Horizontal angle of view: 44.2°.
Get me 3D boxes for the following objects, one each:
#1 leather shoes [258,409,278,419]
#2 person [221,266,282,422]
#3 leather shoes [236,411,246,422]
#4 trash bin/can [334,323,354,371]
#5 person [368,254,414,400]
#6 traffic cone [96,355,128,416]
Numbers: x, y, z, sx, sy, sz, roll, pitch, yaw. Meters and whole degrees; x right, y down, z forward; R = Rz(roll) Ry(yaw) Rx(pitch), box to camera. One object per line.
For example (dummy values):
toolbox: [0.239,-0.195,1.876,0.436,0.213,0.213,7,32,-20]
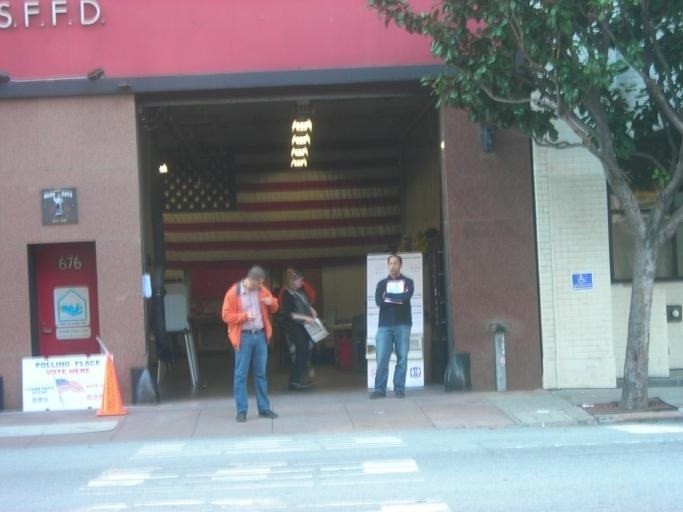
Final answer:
leather shoes: [-1.123,2.423,12.945,0.278,0.120,0.125,-2,-3,21]
person: [-1.374,1.335,12.791,0.806,2.321,0.528,-3,7,-14]
leather shoes: [-1.509,2.419,12.660,0.099,0.138,0.311,1,-10,-5]
trash bin/can: [0.051,1.941,18.037,0.377,0.944,1.079,-2,7,-1]
person: [0.846,1.164,13.892,0.698,2.328,0.498,-1,6,6]
traffic cone: [-3.699,2.103,13.463,0.579,0.871,0.646,-6,-7,22]
